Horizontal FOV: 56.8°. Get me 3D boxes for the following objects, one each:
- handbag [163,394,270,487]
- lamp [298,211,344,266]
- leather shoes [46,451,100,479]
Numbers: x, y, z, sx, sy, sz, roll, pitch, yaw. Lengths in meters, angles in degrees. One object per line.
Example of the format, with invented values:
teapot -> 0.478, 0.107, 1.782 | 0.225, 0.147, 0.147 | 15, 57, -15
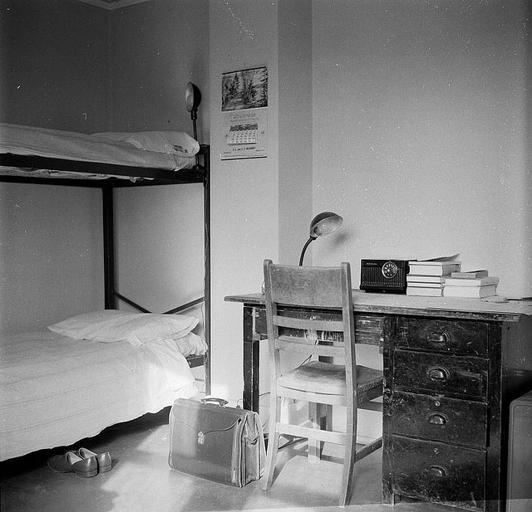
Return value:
handbag -> -0.267, 0.853, 2.339 | 0.415, 0.367, 0.178 | 3, 1, 23
lamp -> 0.278, -0.104, 2.621 | 0.126, 0.248, 0.251 | 0, 1, -36
leather shoes -> -0.910, 0.975, 2.340 | 0.180, 0.079, 0.113 | 5, -3, 30
